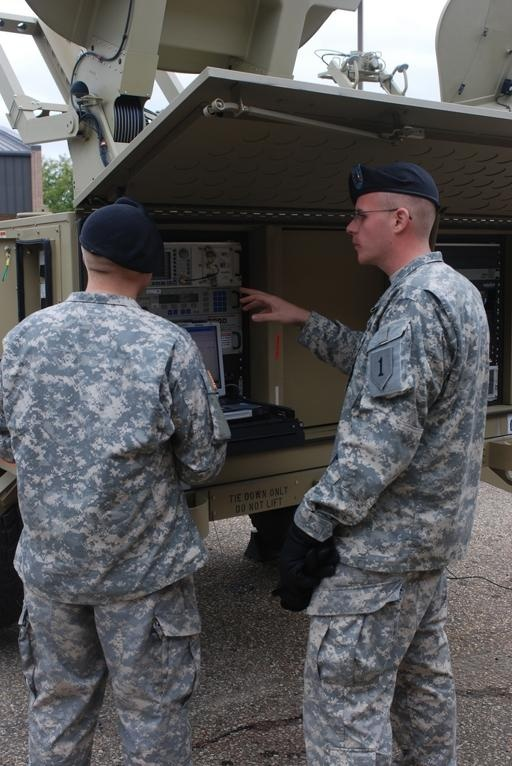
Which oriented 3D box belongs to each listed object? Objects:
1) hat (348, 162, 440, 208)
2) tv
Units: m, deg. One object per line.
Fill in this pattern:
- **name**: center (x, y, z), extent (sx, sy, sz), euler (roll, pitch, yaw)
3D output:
- **hat**: center (0.329, -0.449, 1.690), extent (0.164, 0.071, 0.119), euler (6, 7, 8)
- **tv**: center (-0.254, -0.122, 3.239), extent (0.260, 0.283, 0.026), euler (-1, 7, 34)
